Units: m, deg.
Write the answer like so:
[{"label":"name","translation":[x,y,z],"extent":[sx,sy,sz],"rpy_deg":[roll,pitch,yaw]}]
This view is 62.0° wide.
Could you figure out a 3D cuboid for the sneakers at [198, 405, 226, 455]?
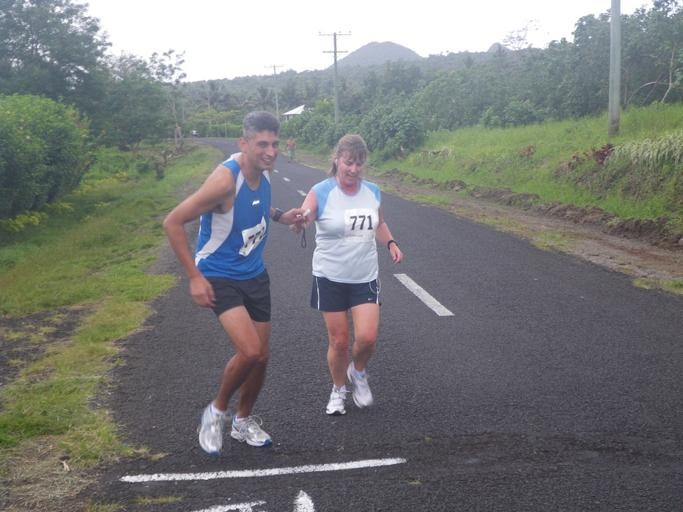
[{"label":"sneakers","translation":[-1.149,1.568,5.065],"extent":[0.190,0.502,0.171],"rpy_deg":[-18,-28,21]}]

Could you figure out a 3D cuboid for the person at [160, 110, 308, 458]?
[{"label":"person","translation":[-0.971,0.223,5.178],"extent":[0.764,2.943,1.039],"rpy_deg":[3,14,14]}]

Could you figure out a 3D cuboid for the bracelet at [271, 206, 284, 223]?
[{"label":"bracelet","translation":[-0.671,-0.415,5.956],"extent":[0.159,0.193,0.117],"rpy_deg":[5,9,-3]}]

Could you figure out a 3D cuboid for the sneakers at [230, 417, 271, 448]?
[{"label":"sneakers","translation":[-0.840,1.601,5.273],"extent":[0.374,0.198,0.198],"rpy_deg":[15,14,33]}]

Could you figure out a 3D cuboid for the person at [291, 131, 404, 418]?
[{"label":"person","translation":[0.019,0.185,5.673],"extent":[0.726,2.642,0.752],"rpy_deg":[0,13,3]}]
